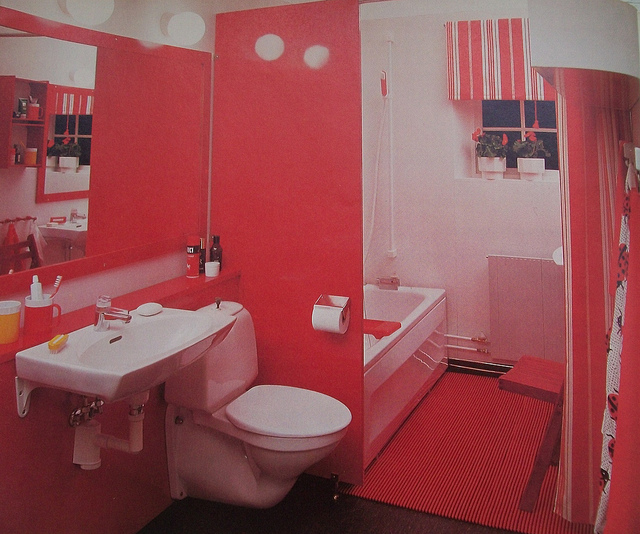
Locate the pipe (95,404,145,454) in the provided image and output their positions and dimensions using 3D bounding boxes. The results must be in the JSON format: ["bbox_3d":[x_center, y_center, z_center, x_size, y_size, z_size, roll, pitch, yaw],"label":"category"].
[{"bbox_3d":[-0.726,0.576,1.826,0.173,0.188,0.066,5,1,2],"label":"pipe"}]

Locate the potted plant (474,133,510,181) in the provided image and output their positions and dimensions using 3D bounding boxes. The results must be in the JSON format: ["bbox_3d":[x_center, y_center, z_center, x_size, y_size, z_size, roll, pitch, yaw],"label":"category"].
[{"bbox_3d":[0.788,-0.488,2.296,0.128,0.271,0.165,-8,9,-38],"label":"potted plant"}]

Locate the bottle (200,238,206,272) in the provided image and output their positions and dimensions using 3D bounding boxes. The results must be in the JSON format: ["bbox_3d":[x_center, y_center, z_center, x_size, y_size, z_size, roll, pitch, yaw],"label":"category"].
[{"bbox_3d":[-0.597,-0.057,2.559,0.021,0.168,0.046,3,9,30],"label":"bottle"}]

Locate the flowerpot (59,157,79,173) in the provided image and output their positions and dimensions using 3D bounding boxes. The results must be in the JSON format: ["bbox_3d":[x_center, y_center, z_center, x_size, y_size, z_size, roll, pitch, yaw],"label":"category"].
[{"bbox_3d":[-0.986,-0.395,1.981,0.054,0.047,0.053,-5,11,-40],"label":"flowerpot"}]

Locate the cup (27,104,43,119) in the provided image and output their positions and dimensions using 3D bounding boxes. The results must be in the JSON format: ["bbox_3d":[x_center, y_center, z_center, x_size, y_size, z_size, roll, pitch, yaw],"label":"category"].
[{"bbox_3d":[-1.049,-0.566,1.859,0.029,0.056,0.049,2,1,27],"label":"cup"}]

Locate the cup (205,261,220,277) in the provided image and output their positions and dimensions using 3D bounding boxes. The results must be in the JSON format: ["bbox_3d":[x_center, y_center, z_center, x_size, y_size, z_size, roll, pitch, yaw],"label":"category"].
[{"bbox_3d":[-0.534,0.014,2.510,0.060,0.061,0.066,1,0,0],"label":"cup"}]

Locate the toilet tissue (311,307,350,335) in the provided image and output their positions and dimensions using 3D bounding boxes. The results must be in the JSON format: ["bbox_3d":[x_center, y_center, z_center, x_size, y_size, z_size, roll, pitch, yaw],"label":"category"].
[{"bbox_3d":[0.039,0.256,2.391,0.138,0.144,0.115,2,5,16],"label":"toilet tissue"}]

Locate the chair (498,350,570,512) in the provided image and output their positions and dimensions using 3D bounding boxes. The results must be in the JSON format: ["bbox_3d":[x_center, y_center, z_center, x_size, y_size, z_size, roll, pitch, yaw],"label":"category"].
[{"bbox_3d":[0.944,0.723,2.286,0.273,0.678,0.192,2,8,22],"label":"chair"}]

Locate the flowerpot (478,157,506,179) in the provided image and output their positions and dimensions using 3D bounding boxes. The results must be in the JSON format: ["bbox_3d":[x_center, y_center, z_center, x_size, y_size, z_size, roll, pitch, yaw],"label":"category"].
[{"bbox_3d":[0.783,-0.442,2.294,0.095,0.086,0.092,-2,5,-12],"label":"flowerpot"}]

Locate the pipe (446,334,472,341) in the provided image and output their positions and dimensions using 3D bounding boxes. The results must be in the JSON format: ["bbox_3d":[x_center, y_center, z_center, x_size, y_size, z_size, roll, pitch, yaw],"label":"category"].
[{"bbox_3d":[0.674,0.342,2.465,0.111,0.016,0.004,3,9,26],"label":"pipe"}]

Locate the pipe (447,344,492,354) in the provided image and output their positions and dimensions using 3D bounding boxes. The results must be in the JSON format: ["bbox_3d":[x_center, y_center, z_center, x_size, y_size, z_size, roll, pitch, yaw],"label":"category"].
[{"bbox_3d":[0.729,0.395,2.436,0.196,0.031,0.030,8,29,24],"label":"pipe"}]

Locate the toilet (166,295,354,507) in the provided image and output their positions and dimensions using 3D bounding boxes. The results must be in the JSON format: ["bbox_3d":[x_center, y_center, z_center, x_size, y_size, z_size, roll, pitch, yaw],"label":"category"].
[{"bbox_3d":[-0.227,0.589,2.673,0.939,1.226,0.677,1,6,14],"label":"toilet"}]

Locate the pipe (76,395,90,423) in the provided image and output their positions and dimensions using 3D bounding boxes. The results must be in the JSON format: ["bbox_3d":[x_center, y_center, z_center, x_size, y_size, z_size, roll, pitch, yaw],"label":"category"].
[{"bbox_3d":[-0.845,0.499,1.813,0.058,0.096,0.021,3,-1,-41],"label":"pipe"}]

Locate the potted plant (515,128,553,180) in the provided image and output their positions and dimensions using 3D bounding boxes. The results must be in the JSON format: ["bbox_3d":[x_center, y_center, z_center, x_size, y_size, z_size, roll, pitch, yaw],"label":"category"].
[{"bbox_3d":[0.943,-0.496,2.274,0.140,0.211,0.117,4,13,22],"label":"potted plant"}]

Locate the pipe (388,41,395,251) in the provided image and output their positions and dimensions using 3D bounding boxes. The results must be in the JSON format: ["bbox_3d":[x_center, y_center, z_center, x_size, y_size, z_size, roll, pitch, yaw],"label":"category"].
[{"bbox_3d":[0.338,-0.555,2.408,0.026,0.954,0.047,2,8,21],"label":"pipe"}]

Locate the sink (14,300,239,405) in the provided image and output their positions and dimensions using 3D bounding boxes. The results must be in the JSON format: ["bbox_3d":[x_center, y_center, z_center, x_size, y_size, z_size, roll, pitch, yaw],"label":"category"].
[{"bbox_3d":[-0.682,0.277,1.825,0.580,0.191,0.595,2,10,20],"label":"sink"}]

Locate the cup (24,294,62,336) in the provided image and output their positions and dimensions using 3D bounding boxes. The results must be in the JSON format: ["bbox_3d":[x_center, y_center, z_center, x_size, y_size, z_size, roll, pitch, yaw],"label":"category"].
[{"bbox_3d":[-1.019,0.184,1.866,0.088,0.137,0.141,16,9,39],"label":"cup"}]
